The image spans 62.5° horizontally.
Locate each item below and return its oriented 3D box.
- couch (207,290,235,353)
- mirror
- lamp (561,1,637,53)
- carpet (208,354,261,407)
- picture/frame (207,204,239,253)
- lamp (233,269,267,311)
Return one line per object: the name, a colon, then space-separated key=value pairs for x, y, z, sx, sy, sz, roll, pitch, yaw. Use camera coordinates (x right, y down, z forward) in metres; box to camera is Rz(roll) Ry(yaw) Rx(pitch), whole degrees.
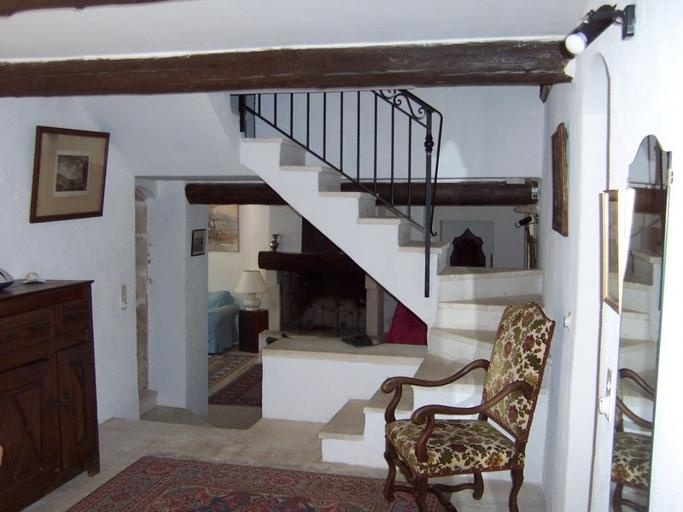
couch: x=-1.911 y=1.056 z=9.182 sx=0.444 sy=0.869 sz=0.820 roll=-1 pitch=6 yaw=-11
mirror: x=1.166 y=0.320 z=2.200 sx=0.082 sy=1.554 sz=0.433 roll=2 pitch=6 yaw=16
lamp: x=1.103 y=-0.974 z=2.406 sx=0.267 sy=0.225 sz=0.224 roll=3 pitch=7 yaw=22
carpet: x=-1.428 y=1.673 z=7.615 sx=0.759 sy=0.039 sz=2.046 roll=-1 pitch=7 yaw=-11
picture/frame: x=-1.952 y=-0.479 z=9.410 sx=0.730 sy=1.145 sz=0.053 roll=1 pitch=2 yaw=11
lamp: x=-1.462 y=0.556 z=9.236 sx=0.600 sy=0.712 sz=0.587 roll=5 pitch=8 yaw=40
